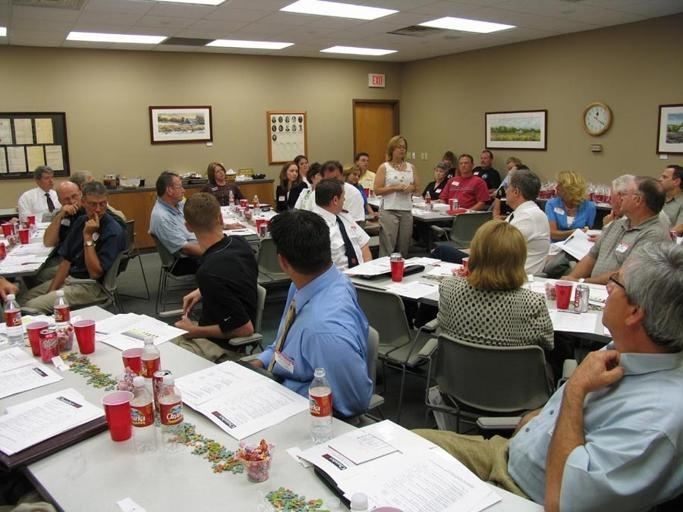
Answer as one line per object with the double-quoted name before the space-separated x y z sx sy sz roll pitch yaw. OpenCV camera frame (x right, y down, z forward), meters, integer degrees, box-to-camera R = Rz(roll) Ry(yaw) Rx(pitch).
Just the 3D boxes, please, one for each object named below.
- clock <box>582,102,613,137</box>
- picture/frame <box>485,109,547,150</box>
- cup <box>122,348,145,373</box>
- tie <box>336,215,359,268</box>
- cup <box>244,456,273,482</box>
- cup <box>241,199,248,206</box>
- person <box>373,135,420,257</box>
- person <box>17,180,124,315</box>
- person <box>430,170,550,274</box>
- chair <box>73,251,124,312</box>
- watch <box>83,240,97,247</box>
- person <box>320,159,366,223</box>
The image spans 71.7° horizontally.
"clock" 4.004 -2.147 7.336 0.079 0.622 0.589 -2 2 -27
"picture/frame" 3.172 -2.277 8.436 0.032 0.549 0.851 -8 11 -38
"cup" -0.892 0.449 2.022 0.091 0.083 0.104 1 0 -1
"tie" 0.053 -0.117 3.917 0.132 0.363 0.260 -14 5 46
"cup" -0.252 0.656 1.440 0.073 0.059 0.076 -2 -1 0
"cup" -1.315 -0.713 6.341 0.111 0.104 0.116 0 2 0
"person" 0.715 -0.752 6.395 0.567 1.677 0.703 2 14 9
"person" -2.255 -0.096 3.976 0.754 1.024 0.640 -4 14 -15
"person" 1.429 -0.333 4.693 0.879 1.673 0.880 6 8 9
"chair" -2.239 0.230 4.341 0.481 0.777 0.492 4 4 -26
"watch" -2.120 -0.094 3.972 0.065 0.049 0.073 0 -6 5
"person" -0.015 -0.740 7.264 0.425 1.392 0.470 7 16 -24
